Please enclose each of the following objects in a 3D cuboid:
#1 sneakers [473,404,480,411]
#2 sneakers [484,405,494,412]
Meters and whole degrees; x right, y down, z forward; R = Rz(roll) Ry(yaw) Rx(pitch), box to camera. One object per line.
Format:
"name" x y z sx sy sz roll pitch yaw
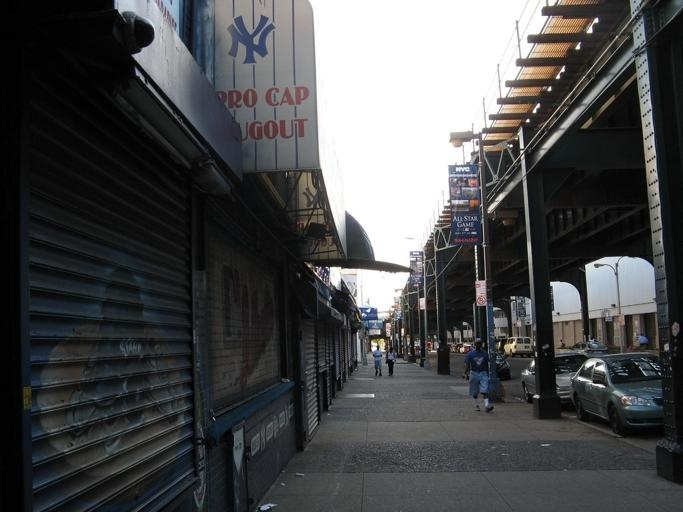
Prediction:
"sneakers" 4.057 4.518 16.659 0.094 0.206 0.263 0 -4 1
"sneakers" 4.381 4.519 16.457 0.096 0.192 0.283 -6 -39 -29
